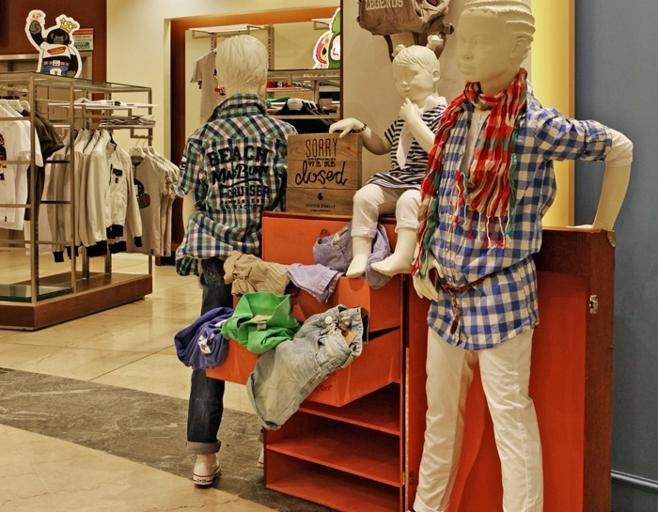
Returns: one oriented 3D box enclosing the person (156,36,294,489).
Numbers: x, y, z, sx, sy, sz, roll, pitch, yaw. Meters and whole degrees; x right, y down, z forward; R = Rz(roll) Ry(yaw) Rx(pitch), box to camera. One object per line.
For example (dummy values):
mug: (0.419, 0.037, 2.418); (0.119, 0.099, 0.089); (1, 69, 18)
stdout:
person: (-0.392, 0.065, 2.814); (0.480, 2.023, 0.411); (-5, 11, -32)

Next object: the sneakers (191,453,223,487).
sneakers: (-0.506, 1.026, 2.803); (0.076, 0.122, 0.181); (0, 4, 2)
